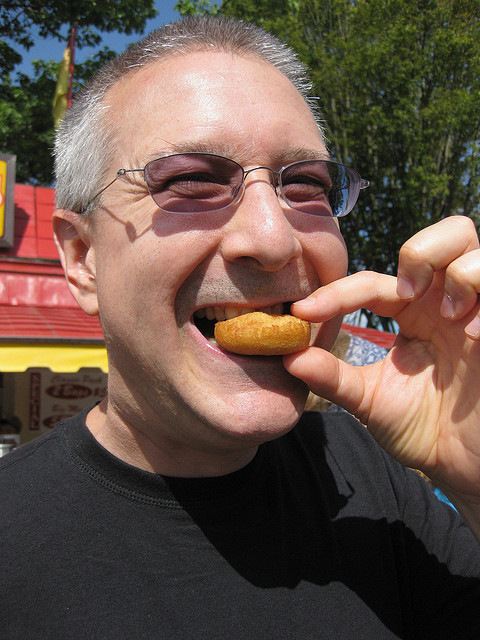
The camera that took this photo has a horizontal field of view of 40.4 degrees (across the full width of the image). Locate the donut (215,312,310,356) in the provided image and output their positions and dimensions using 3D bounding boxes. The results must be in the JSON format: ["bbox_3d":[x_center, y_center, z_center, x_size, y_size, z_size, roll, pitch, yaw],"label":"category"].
[{"bbox_3d":[0.064,0.024,1.927,0.231,0.082,0.236,-12,6,11],"label":"donut"}]
